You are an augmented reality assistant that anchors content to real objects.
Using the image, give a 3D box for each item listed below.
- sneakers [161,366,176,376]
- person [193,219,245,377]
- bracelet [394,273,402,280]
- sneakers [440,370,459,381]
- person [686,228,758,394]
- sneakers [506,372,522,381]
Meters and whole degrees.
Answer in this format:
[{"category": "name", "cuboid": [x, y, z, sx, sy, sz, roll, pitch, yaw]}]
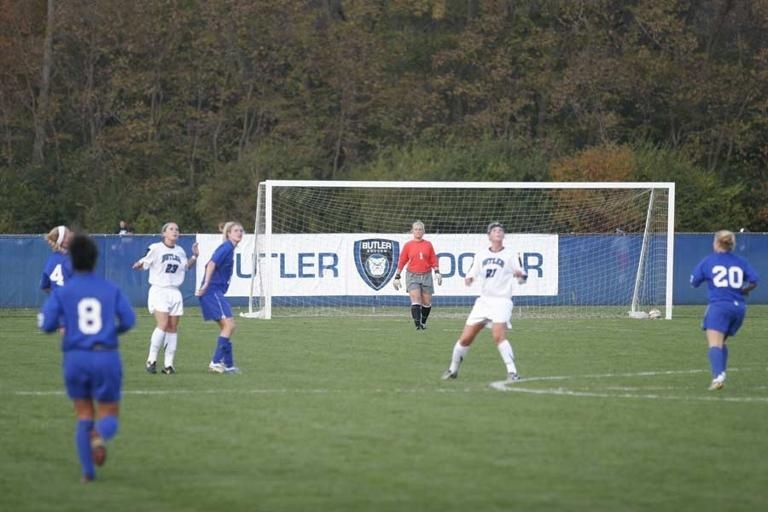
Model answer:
[{"category": "sneakers", "cuboid": [-5.615, 2.984, 32.602, 0.422, 0.183, 0.169, -3, 1, 20]}, {"category": "person", "cuboid": [-4.243, 1.047, 32.700, 1.103, 3.953, 1.285, 0, 0, -8]}, {"category": "bracelet", "cuboid": [0.437, 0.615, 37.927, 0.187, 0.180, 0.132, -12, 45, -19]}, {"category": "sneakers", "cuboid": [1.678, 3.060, 32.032, 0.347, 0.155, 0.206, -12, -1, -26]}, {"category": "person", "cuboid": [8.456, 1.361, 31.327, 1.429, 3.993, 0.653, 0, 1, 10]}, {"category": "sneakers", "cuboid": [3.310, 3.083, 31.961, 0.266, 0.227, 0.183, -4, 9, -13]}]
